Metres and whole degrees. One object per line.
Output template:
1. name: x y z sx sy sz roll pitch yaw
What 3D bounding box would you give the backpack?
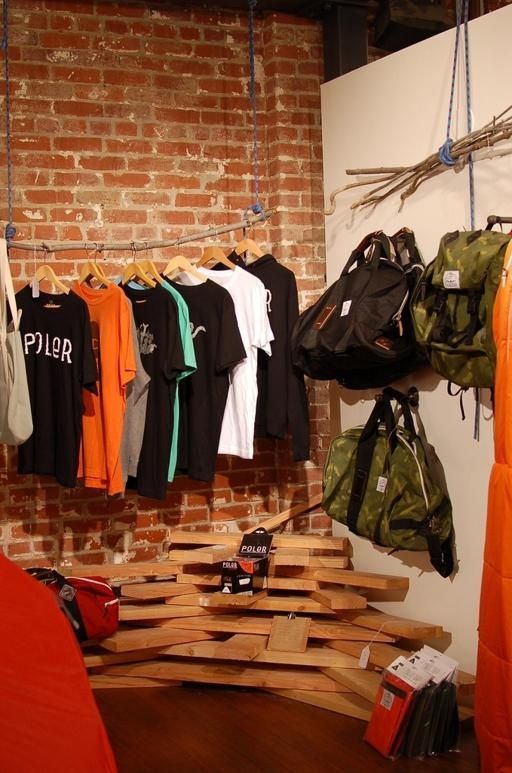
1. backpack: 0.629 -0.239 1.799 0.167 0.362 0.470 -2 1 -11

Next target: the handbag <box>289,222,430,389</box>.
1. handbag: 0.396 -0.299 2.311 0.408 0.482 0.523 -2 1 -22

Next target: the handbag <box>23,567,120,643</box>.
1. handbag: -0.708 0.840 2.365 0.312 0.280 0.258 -2 1 35
